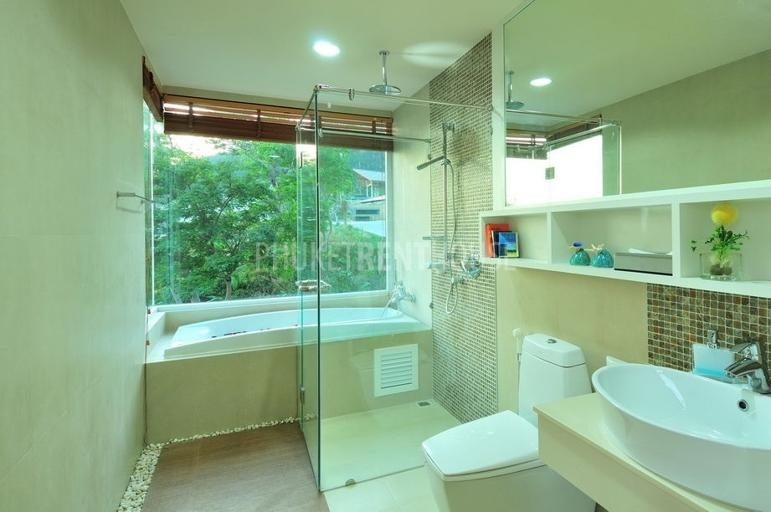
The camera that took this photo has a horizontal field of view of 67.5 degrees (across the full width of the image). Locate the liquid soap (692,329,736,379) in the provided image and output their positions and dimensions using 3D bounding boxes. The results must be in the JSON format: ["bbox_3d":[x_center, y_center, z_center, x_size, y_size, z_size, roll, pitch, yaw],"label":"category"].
[{"bbox_3d":[1.685,0.504,3.028,0.147,0.222,0.224,6,6,3],"label":"liquid soap"}]

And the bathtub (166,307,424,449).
[{"bbox_3d":[-0.711,0.846,4.790,2.215,1.062,1.366,0,4,13],"label":"bathtub"}]

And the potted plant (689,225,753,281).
[{"bbox_3d":[1.691,-0.031,3.004,0.269,0.294,0.295,-2,3,-33],"label":"potted plant"}]
